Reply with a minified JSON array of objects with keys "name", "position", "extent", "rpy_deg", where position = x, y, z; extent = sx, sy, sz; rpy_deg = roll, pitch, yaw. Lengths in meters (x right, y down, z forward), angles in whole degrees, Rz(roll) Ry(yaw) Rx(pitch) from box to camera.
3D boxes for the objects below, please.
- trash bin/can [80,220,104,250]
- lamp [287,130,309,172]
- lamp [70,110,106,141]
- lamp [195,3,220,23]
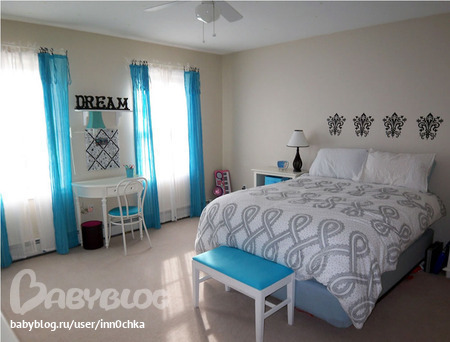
[{"name":"trash bin/can","position":[-1.773,0.856,4.299],"extent":[0.306,0.384,0.322],"rpy_deg":[1,7,2]},{"name":"lamp","position":[1.161,-0.322,4.901],"extent":[0.308,0.644,0.392],"rpy_deg":[1,10,16]},{"name":"lamp","position":[-1.867,-0.646,4.328],"extent":[0.360,0.397,0.144],"rpy_deg":[-7,11,-25]},{"name":"lamp","position":[-0.160,-1.618,3.104],"extent":[0.218,0.225,0.240],"rpy_deg":[0,10,12]}]
